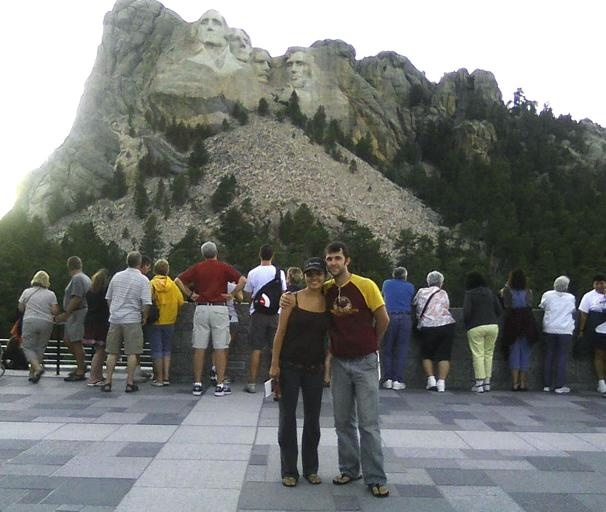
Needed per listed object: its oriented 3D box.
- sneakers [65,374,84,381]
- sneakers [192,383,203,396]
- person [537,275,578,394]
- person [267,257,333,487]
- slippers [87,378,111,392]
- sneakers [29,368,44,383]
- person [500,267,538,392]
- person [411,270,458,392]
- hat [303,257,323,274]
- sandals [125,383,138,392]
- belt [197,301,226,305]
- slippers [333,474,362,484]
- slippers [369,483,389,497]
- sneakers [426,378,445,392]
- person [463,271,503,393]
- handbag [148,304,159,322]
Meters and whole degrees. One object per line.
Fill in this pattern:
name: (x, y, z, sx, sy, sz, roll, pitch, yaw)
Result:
sneakers: (-3.620, 1.914, 9.961, 0.230, 0.091, 0.126, 10, -4, -5)
sneakers: (-1.487, 1.900, 9.059, 0.154, 0.167, 0.268, 2, -7, -10)
person: (4.169, 1.252, 10.024, 0.499, 1.787, 0.471, -2, -7, 21)
person: (-0.010, 1.065, 5.910, 0.548, 2.059, 0.599, 1, -7, 2)
slippers: (-2.971, 1.912, 9.329, 0.463, 0.134, 0.189, -4, -9, 35)
sneakers: (-4.079, 1.788, 9.606, 0.112, 0.329, 0.132, 19, 30, -12)
person: (3.550, 1.161, 10.029, 0.545, 1.913, 0.297, -2, -7, 20)
person: (2.138, 1.167, 9.890, 0.636, 1.849, 0.619, -1, -7, 14)
hat: (0.137, 0.081, 5.865, 0.202, 0.157, 0.266, 3, -7, -17)
sandals: (-2.488, 1.911, 9.215, 0.188, 0.116, 0.242, 3, -7, -15)
belt: (-1.284, 0.677, 9.084, 0.395, 0.065, 0.097, 2, -7, -11)
slippers: (0.447, 2.063, 5.876, 0.260, 0.092, 0.096, 0, 25, -19)
slippers: (0.724, 2.057, 5.592, 0.081, 0.079, 0.177, 1, -6, -20)
sneakers: (2.145, 1.978, 9.806, 0.132, 0.155, 0.352, 0, 3, 5)
person: (2.867, 1.169, 9.820, 0.627, 1.860, 0.406, 1, -7, 1)
handbag: (-2.204, 0.838, 9.373, 0.061, 0.289, 0.172, -4, -9, 36)
